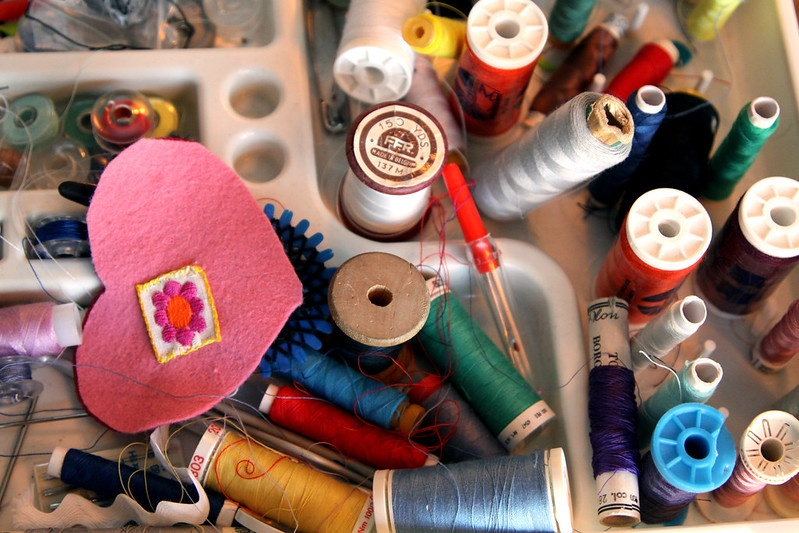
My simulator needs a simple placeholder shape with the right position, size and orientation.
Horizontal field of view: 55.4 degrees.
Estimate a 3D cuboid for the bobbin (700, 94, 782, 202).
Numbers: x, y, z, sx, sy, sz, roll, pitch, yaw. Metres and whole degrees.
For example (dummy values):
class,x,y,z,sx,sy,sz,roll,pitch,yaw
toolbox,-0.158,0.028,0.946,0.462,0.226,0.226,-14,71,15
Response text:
class,x,y,z,sx,sy,sz,roll,pitch,yaw
bobbin,1.015,-0.329,2.265,0.103,0.351,0.086,30,62,18
